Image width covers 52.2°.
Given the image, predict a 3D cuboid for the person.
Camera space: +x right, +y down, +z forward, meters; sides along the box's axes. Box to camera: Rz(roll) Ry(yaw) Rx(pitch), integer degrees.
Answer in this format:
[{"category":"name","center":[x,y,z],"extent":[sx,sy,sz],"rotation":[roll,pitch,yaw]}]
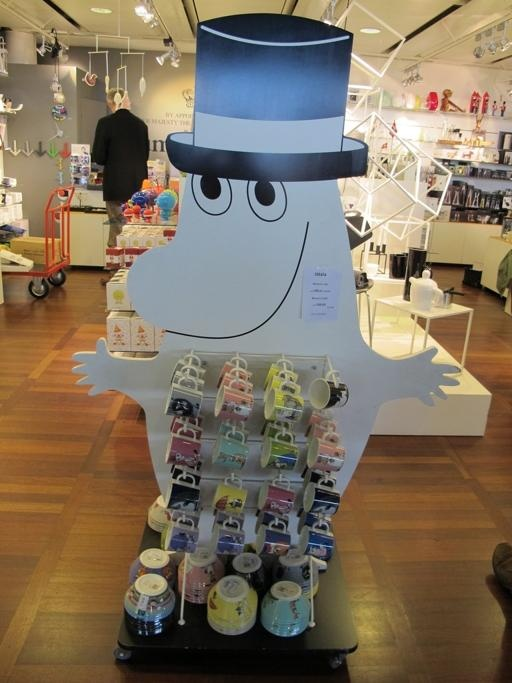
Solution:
[{"category":"person","center":[-1.428,-1.719,5.535],"extent":[0.594,1.396,0.317],"rotation":[-1,16,-27]}]

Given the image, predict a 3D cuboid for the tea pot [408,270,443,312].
[{"category":"tea pot","center":[0.949,-0.292,2.929],"extent":[0.169,0.212,0.244],"rotation":[4,14,-9]}]

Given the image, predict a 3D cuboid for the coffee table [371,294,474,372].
[{"category":"coffee table","center":[0.993,-0.062,3.174],"extent":[0.372,0.423,0.483],"rotation":[-14,32,-26]}]

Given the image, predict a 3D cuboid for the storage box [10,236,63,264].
[{"category":"storage box","center":[-2.283,-0.947,5.437],"extent":[0.397,0.226,0.386],"rotation":[0,18,0]}]
